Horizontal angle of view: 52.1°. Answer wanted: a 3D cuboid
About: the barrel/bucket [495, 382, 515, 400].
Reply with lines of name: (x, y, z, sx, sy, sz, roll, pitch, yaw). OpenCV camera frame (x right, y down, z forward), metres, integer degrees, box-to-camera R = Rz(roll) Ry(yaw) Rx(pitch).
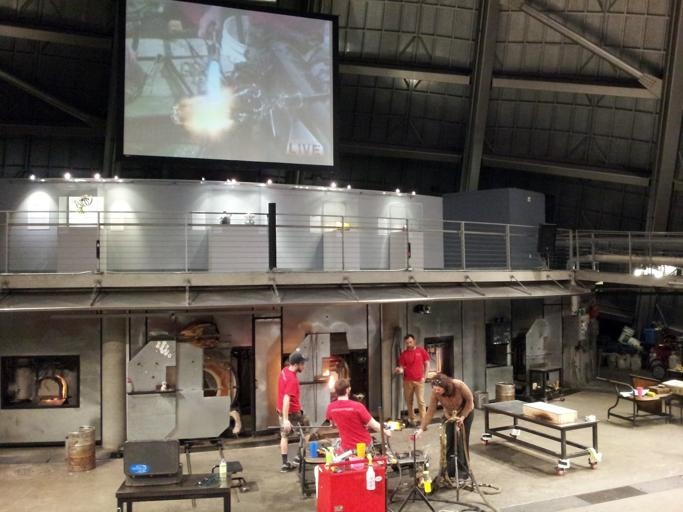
barrel/bucket: (5.059, 4.178, 21.603, 0.498, 0.521, 0.526, 2, -12, 1)

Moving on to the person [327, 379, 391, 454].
person: (0.206, 3.409, 14.869, 1.039, 1.545, 0.563, -1, -7, -1)

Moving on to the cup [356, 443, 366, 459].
cup: (0.399, 3.998, 14.438, 0.247, 0.400, 0.270, 0, 0, 0)

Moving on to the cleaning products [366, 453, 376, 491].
cleaning products: (0.571, 4.349, 14.007, 0.200, 0.687, 0.192, 1, -7, -11)

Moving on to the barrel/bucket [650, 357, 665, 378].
barrel/bucket: (11.610, 4.121, 25.448, 0.426, 0.630, 1.136, -4, -8, 22)

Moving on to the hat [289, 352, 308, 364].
hat: (-1.057, 2.397, 16.494, 0.353, 0.204, 0.236, -15, 29, -25)

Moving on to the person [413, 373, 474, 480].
person: (2.511, 3.881, 15.843, 0.831, 2.397, 1.296, -6, -8, 35)

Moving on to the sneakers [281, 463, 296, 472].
sneakers: (-1.287, 5.088, 16.891, 0.167, 0.177, 0.395, 1, 1, 40)

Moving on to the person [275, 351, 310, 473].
person: (-1.221, 3.725, 16.729, 0.632, 2.881, 1.103, 0, -7, -6)

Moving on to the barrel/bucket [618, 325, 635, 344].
barrel/bucket: (11.453, 3.174, 28.048, 0.602, 0.680, 1.134, -4, -8, 22)

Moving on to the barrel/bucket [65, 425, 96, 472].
barrel/bucket: (-6.436, 4.753, 17.331, 0.861, 0.982, 0.880, 0, -4, 0)
